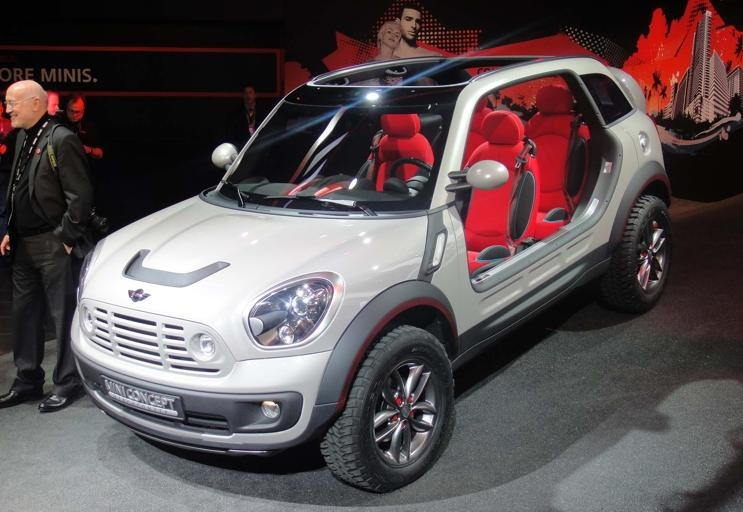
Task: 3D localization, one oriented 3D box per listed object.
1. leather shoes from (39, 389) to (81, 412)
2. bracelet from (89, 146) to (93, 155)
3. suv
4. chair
[{"bbox_3d":[-2.029,0.929,3.378,0.104,0.108,0.285,4,8,29],"label":"leather shoes"},{"bbox_3d":[-3.613,-1.358,6.520,0.017,0.054,0.054,-5,34,11],"label":"bracelet"},{"bbox_3d":[0.456,-0.200,3.647,2.040,1.868,4.310,10,20,40],"label":"suv"},{"bbox_3d":[0.689,-0.644,4.319,1.705,1.868,1.190,-4,4,-37],"label":"chair"}]
